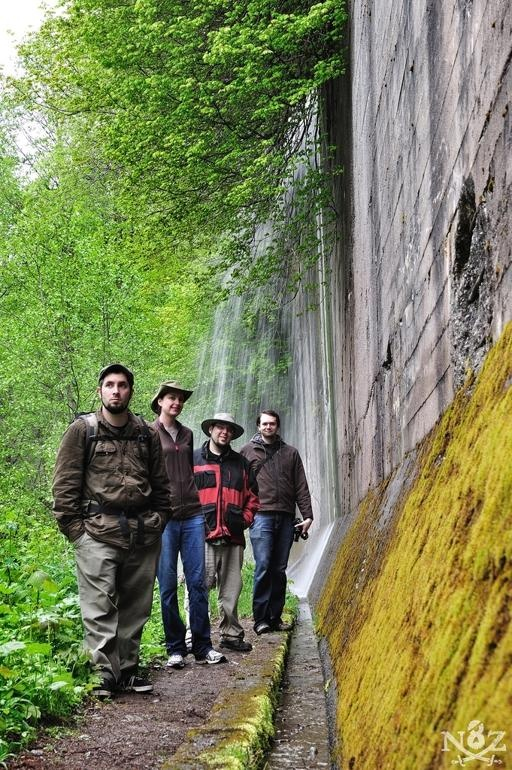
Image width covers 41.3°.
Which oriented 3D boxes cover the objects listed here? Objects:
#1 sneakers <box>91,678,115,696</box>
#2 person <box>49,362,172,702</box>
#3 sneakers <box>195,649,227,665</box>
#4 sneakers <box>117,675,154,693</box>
[{"bbox_3d":[-0.826,1.659,3.731,0.098,0.109,0.258,3,-11,-6],"label":"sneakers"},{"bbox_3d":[-0.824,0.827,3.983,0.348,1.869,0.762,-5,-12,35],"label":"person"},{"bbox_3d":[-0.321,1.929,4.804,0.206,0.093,0.091,-6,-9,29],"label":"sneakers"},{"bbox_3d":[-0.695,1.751,3.981,0.195,0.095,0.079,-8,-18,23],"label":"sneakers"}]
